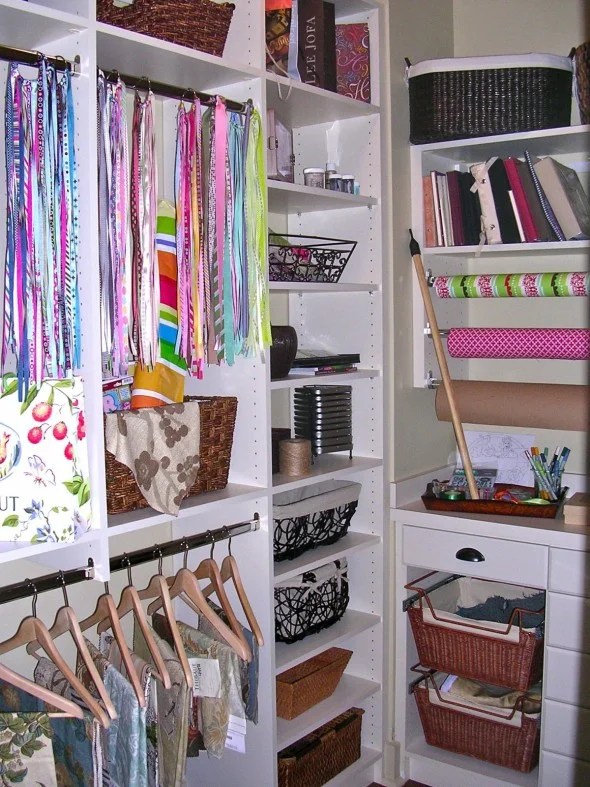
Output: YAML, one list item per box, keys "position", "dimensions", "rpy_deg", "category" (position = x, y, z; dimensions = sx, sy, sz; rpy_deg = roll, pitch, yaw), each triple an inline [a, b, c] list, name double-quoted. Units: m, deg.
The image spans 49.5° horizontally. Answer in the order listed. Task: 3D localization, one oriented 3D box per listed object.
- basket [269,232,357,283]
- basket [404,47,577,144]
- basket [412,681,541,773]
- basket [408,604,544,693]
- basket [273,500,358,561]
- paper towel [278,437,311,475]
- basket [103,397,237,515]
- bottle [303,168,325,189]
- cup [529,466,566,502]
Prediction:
- position: [0.056, -0.356, 1.713]
  dimensions: [0.180, 0.104, 0.286]
  rpy_deg: [1, 5, -8]
  category: "basket"
- position: [0.573, -0.797, 1.902]
  dimensions: [0.451, 0.247, 0.281]
  rpy_deg: [0, -11, 8]
  category: "basket"
- position: [0.537, 0.944, 1.888]
  dimensions: [0.283, 0.173, 0.219]
  rpy_deg: [0, -3, 35]
  category: "basket"
- position: [0.542, 0.727, 1.913]
  dimensions: [0.357, 0.191, 0.278]
  rpy_deg: [3, -1, 27]
  category: "basket"
- position: [0.047, 0.359, 1.689]
  dimensions: [0.114, 0.070, 0.171]
  rpy_deg: [-15, -11, 31]
  category: "basket"
- position: [0.004, 0.164, 1.642]
  dimensions: [0.074, 0.093, 0.081]
  rpy_deg: [2, 8, 9]
  category: "paper towel"
- position: [-0.238, 0.120, 1.280]
  dimensions: [0.147, 0.160, 0.231]
  rpy_deg: [-1, 2, 37]
  category: "basket"
- position: [0.049, -0.550, 1.676]
  dimensions: [0.056, 0.068, 0.061]
  rpy_deg: [-3, 14, -7]
  category: "bottle"
- position: [0.719, 0.258, 1.827]
  dimensions: [0.082, 0.097, 0.072]
  rpy_deg: [-4, 3, -6]
  category: "cup"
